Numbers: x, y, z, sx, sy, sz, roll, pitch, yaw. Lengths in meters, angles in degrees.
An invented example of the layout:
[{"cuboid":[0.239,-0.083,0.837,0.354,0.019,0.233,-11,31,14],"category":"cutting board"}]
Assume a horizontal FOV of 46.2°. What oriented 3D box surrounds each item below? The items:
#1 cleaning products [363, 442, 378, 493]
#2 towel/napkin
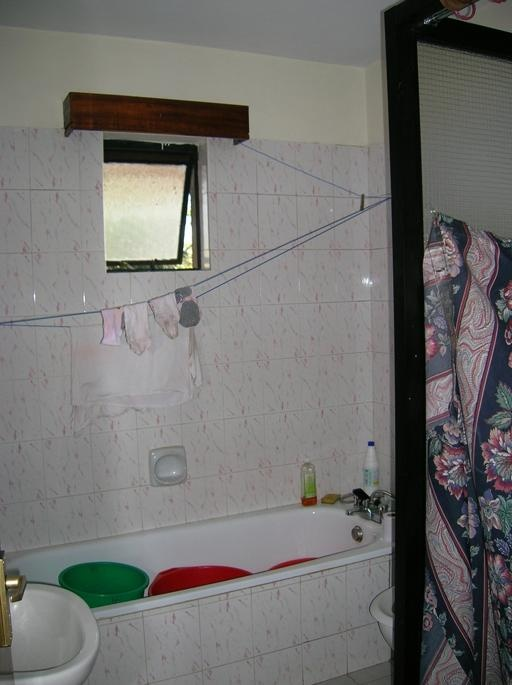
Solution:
[{"cuboid":[0.593,0.616,3.044,0.071,0.255,0.161,-3,-1,31],"category":"cleaning products"},{"cuboid":[-0.526,0.119,2.473,0.370,0.454,0.034,-11,22,-27],"category":"towel/napkin"}]
